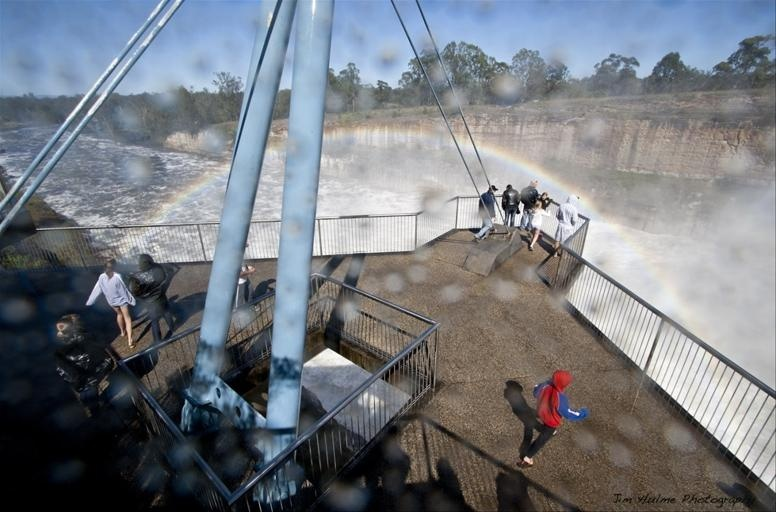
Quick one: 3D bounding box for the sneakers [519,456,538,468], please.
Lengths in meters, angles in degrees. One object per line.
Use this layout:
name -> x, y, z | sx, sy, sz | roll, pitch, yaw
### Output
sneakers -> 2.970, 4.384, 7.256 | 0.334, 0.195, 0.147 | -3, -24, 29

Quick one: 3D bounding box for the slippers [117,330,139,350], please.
slippers -> -7.792, 2.594, 10.362 | 0.799, 0.416, 0.257 | 63, 13, 25

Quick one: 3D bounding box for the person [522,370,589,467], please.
person -> 3.437, 3.449, 7.147 | 0.992, 2.061, 1.276 | 18, 23, 38
